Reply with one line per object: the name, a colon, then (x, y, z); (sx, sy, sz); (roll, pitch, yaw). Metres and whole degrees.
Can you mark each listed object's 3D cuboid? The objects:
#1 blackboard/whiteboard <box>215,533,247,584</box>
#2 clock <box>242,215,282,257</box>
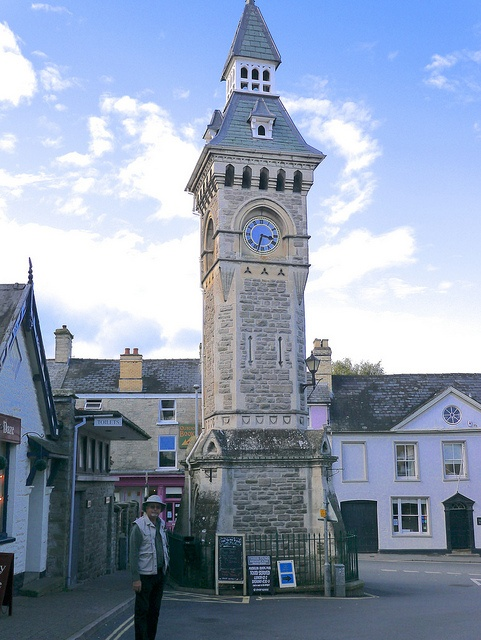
blackboard/whiteboard: (-0.232, 5.657, 18.616); (0.719, 1.238, 0.125); (0, 4, -1)
clock: (0.650, -2.562, 23.793); (1.175, 1.208, 0.154); (4, -14, -22)
